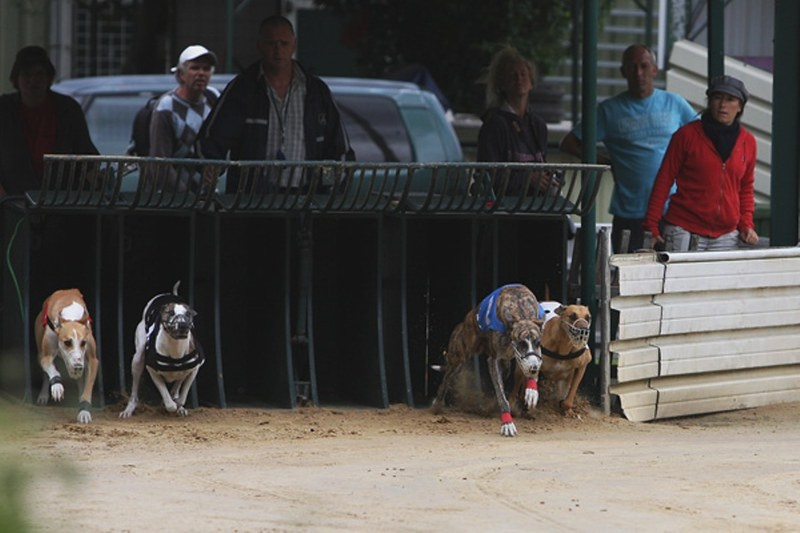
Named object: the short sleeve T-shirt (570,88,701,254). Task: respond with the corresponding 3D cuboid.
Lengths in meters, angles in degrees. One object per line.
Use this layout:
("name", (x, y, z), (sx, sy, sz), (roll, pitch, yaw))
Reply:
("short sleeve T-shirt", (2.539, -0.994, 19.743), (1.634, 1.657, 0.583), (0, -3, -3))

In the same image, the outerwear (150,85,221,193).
("outerwear", (-2.243, -1.409, 19.605), (0.927, 1.104, 0.583), (-13, 36, -30))

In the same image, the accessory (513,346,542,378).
("accessory", (1.263, 0.985, 18.323), (0.256, 0.291, 0.287), (-3, -5, 11))

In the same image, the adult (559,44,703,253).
("adult", (2.622, -0.789, 19.973), (1.391, 3.226, 0.847), (-2, -10, 6))

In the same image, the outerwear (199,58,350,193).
("outerwear", (-1.360, -1.458, 19.602), (1.860, 1.897, 1.119), (-1, 1, -9))

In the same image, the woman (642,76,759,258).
("woman", (3.190, -1.068, 19.538), (1.154, 1.786, 0.696), (-3, -5, 7))

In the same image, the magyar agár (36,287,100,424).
("magyar agár", (-3.356, 0.918, 18.376), (0.569, 1.378, 0.521), (-2, -4, -1))

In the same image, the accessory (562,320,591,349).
("accessory", (1.770, 0.709, 18.446), (0.218, 0.269, 0.261), (-3, -5, 6))

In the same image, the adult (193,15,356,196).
("adult", (-1.286, -1.478, 19.233), (1.775, 1.436, 2.402), (-4, -42, -4))
